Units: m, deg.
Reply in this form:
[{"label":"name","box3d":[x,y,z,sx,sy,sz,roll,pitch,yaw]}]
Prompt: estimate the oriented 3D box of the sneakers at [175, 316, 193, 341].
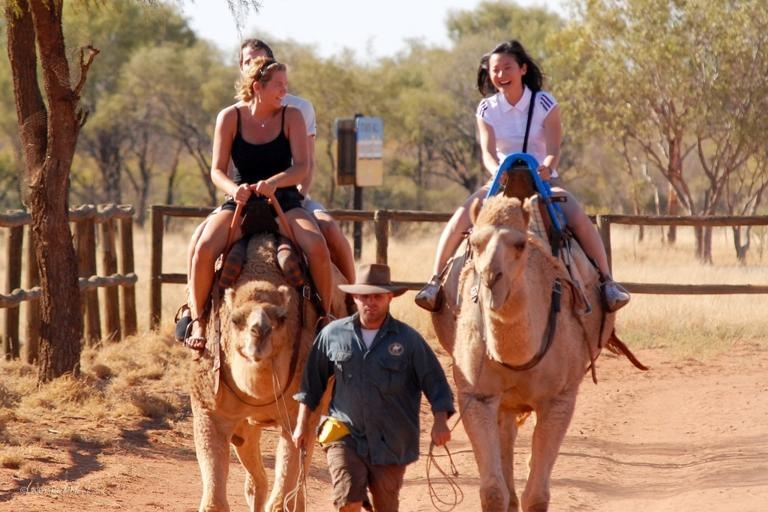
[{"label":"sneakers","box3d":[-3.284,1.187,21.679,0.122,0.378,0.283,12,-9,-22]}]
